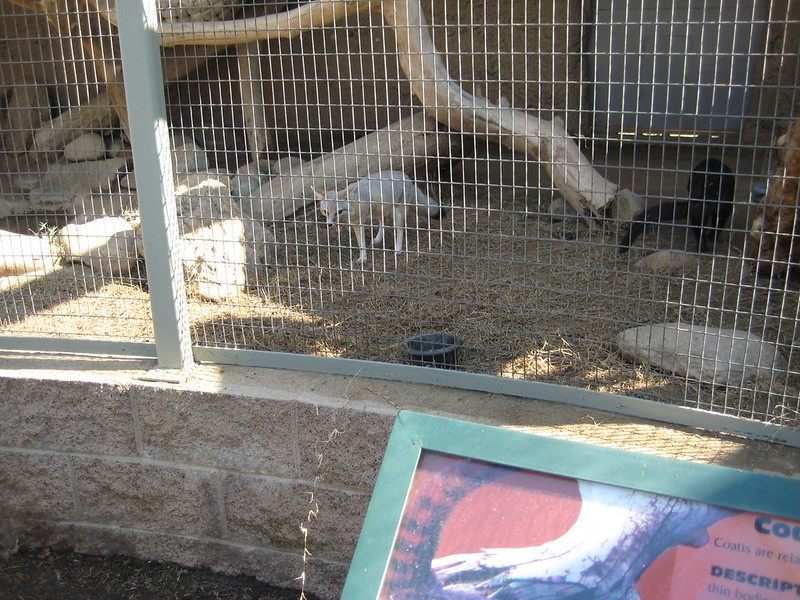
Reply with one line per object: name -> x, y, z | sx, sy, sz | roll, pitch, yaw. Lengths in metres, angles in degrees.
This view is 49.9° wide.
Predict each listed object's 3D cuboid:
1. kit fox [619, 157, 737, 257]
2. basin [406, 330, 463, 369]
kit fox -> 2.114, -0.686, 6.526 | 0.333, 0.633, 1.363 | 19, 38, 42
basin -> 0.202, 0.305, 5.137 | 0.351, 0.151, 0.311 | -2, 23, -15
